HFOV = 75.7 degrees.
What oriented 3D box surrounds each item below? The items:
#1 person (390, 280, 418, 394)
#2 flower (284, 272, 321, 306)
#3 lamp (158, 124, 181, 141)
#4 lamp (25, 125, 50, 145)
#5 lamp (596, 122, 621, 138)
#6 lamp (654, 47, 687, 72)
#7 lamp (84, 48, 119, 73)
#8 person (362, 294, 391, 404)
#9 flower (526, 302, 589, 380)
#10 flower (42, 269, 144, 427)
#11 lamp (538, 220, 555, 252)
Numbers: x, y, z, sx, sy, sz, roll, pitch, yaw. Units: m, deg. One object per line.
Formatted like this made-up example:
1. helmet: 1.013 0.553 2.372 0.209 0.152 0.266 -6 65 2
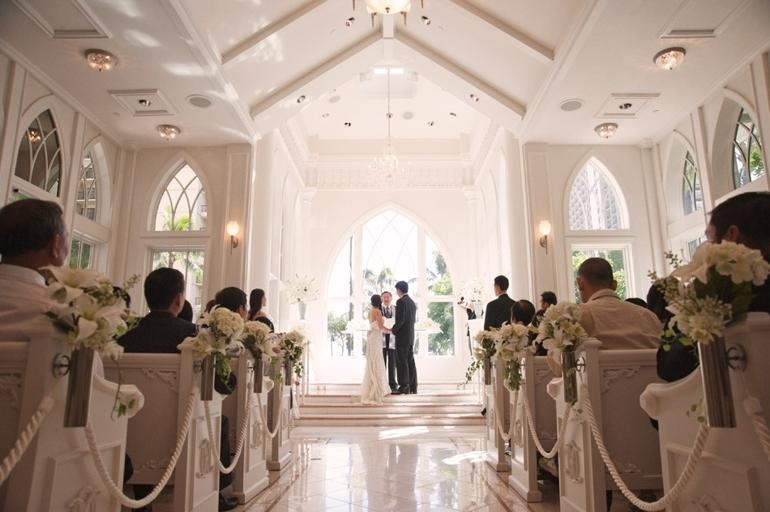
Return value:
1. person: 0.336 1.564 9.709 0.484 2.176 0.925 0 -10 2
2. flower: -1.877 0.635 11.098 0.795 0.820 0.801 -2 -21 16
3. lamp: -3.713 -2.158 8.505 0.249 0.129 0.253 -6 -20 1
4. lamp: -5.020 -1.742 7.066 0.131 0.201 0.196 -23 -22 33
5. lamp: 3.825 -2.197 8.506 0.259 0.130 0.262 2 -2 -25
6. lamp: 3.766 -2.654 6.612 0.284 0.115 0.285 15 -19 -26
7. lamp: -3.801 -2.607 6.571 0.384 0.167 0.339 6 -11 -32
8. person: -0.235 1.701 9.328 0.441 1.978 0.459 -3 -10 17
9. flower: 1.245 0.559 3.761 0.509 0.607 0.548 0 -2 36
10. flower: -1.762 0.484 3.169 0.717 1.130 0.743 0 0 -36
11. lamp: 2.857 -0.386 8.849 0.266 0.561 0.085 1 -10 -3
